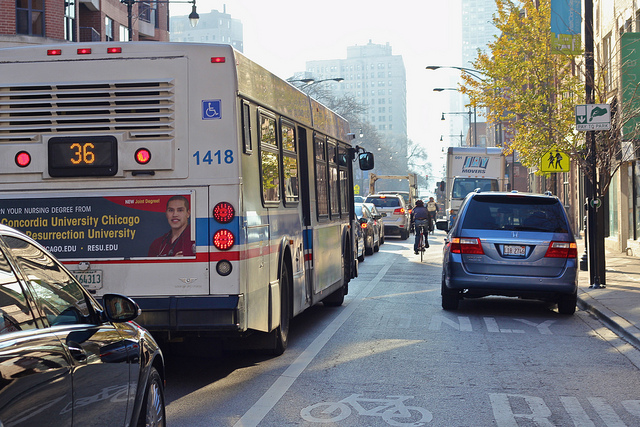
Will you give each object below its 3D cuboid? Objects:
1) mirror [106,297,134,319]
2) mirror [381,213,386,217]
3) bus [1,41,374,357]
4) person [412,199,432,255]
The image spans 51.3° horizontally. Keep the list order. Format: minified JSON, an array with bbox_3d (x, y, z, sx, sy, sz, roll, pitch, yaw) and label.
[{"bbox_3d":[-1.439,0.672,4.757,0.128,0.094,0.032,23,-26,-31],"label":"mirror"},{"bbox_3d":[3.268,0.065,33.908,0.152,0.200,0.413,1,2,33],"label":"mirror"},{"bbox_3d":[-1.608,-0.115,7.891,2.096,2.092,5.401,0,0,11],"label":"bus"},{"bbox_3d":[3.967,0.303,24.492,0.619,1.793,0.615,-13,3,19],"label":"person"}]
